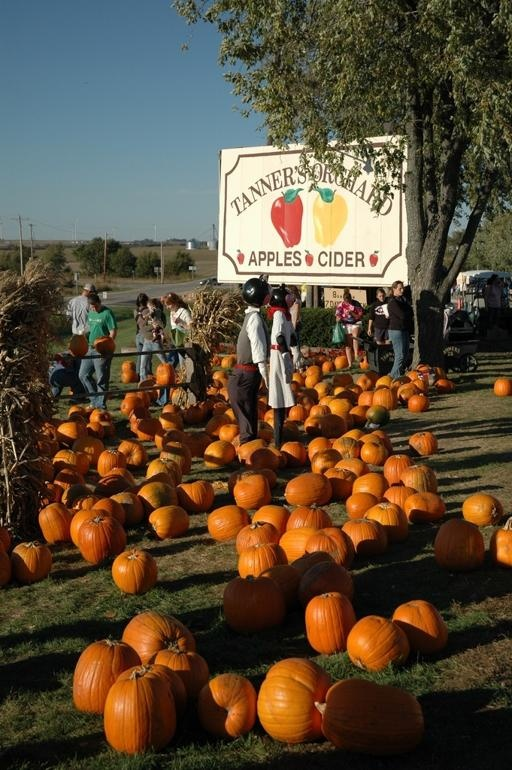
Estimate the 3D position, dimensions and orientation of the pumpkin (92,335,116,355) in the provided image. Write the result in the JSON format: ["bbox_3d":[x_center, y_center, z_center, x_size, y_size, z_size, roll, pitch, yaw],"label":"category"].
[{"bbox_3d":[-2.369,-0.619,9.028,0.285,0.257,0.439,-4,4,-17],"label":"pumpkin"}]

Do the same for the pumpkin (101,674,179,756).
[{"bbox_3d":[-0.435,1.206,2.158,0.257,0.261,0.260,-14,-17,27],"label":"pumpkin"}]

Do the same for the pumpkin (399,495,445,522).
[{"bbox_3d":[1.417,1.021,4.963,0.272,0.207,0.262,1,-7,-3],"label":"pumpkin"}]

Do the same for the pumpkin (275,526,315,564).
[{"bbox_3d":[0.283,1.069,4.073,0.220,0.256,0.214,-7,10,-38],"label":"pumpkin"}]

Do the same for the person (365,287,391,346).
[{"bbox_3d":[2.939,-1.362,13.586,0.595,1.801,0.498,5,28,29],"label":"person"}]

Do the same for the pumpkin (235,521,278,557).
[{"bbox_3d":[-0.013,1.059,4.110,0.232,0.229,0.240,-8,0,25],"label":"pumpkin"}]

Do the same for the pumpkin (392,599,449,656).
[{"bbox_3d":[0.794,1.135,2.789,0.188,0.185,0.187,-24,-1,36],"label":"pumpkin"}]

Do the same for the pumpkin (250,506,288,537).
[{"bbox_3d":[0.127,1.042,4.557,0.204,0.195,0.208,3,9,-11],"label":"pumpkin"}]

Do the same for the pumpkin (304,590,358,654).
[{"bbox_3d":[0.370,1.187,2.923,0.240,0.298,0.250,-6,-6,-15],"label":"pumpkin"}]

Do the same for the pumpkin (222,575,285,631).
[{"bbox_3d":[-0.019,1.176,3.109,0.263,0.245,0.269,0,5,0],"label":"pumpkin"}]

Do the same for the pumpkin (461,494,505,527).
[{"bbox_3d":[1.857,1.008,4.718,0.340,0.215,0.226,-3,4,-1],"label":"pumpkin"}]

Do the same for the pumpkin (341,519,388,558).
[{"bbox_3d":[0.801,1.080,4.147,0.258,0.247,0.265,2,6,8],"label":"pumpkin"}]

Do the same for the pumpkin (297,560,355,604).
[{"bbox_3d":[0.402,1.072,3.217,0.235,0.247,0.238,3,-4,-1],"label":"pumpkin"}]

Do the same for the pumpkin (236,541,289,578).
[{"bbox_3d":[0.029,1.110,3.728,0.227,0.221,0.235,-5,2,28],"label":"pumpkin"}]

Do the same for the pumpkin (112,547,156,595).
[{"bbox_3d":[-0.789,1.169,3.811,0.264,0.274,0.268,1,7,9],"label":"pumpkin"}]

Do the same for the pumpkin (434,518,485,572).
[{"bbox_3d":[1.379,1.083,3.922,0.333,0.356,0.352,6,-7,-28],"label":"pumpkin"}]

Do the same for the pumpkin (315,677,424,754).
[{"bbox_3d":[0.402,1.146,2.000,0.296,0.216,0.172,6,43,5],"label":"pumpkin"}]

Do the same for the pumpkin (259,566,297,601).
[{"bbox_3d":[0.160,1.124,3.380,0.173,0.210,0.168,18,0,-32],"label":"pumpkin"}]

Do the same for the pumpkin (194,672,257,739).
[{"bbox_3d":[-0.119,1.223,2.260,0.186,0.197,0.200,-15,-14,26],"label":"pumpkin"}]

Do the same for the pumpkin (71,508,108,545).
[{"bbox_3d":[-1.360,1.071,4.614,0.321,0.317,0.324,-5,-10,-8],"label":"pumpkin"}]

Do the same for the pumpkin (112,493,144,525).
[{"bbox_3d":[-1.105,1.081,5.159,0.267,0.255,0.270,14,-16,-28],"label":"pumpkin"}]

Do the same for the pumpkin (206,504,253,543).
[{"bbox_3d":[-0.228,1.123,4.752,0.338,0.290,0.286,-19,8,-8],"label":"pumpkin"}]

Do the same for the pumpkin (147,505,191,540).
[{"bbox_3d":[-0.700,1.135,4.881,0.334,0.269,0.263,-12,-17,-49],"label":"pumpkin"}]

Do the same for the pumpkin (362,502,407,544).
[{"bbox_3d":[1.018,1.053,4.468,0.268,0.272,0.277,1,-10,11],"label":"pumpkin"}]

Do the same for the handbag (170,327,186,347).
[{"bbox_3d":[-1.391,-0.857,10.500,0.200,0.331,0.646,-5,4,-23],"label":"handbag"}]

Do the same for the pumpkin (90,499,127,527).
[{"bbox_3d":[-1.231,1.042,4.870,0.216,0.218,0.224,5,2,24],"label":"pumpkin"}]

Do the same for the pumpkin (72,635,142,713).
[{"bbox_3d":[-0.621,1.204,2.518,0.245,0.311,0.258,0,-5,18],"label":"pumpkin"}]

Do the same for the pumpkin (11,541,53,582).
[{"bbox_3d":[-1.611,1.222,4.125,0.239,0.249,0.245,2,2,-3],"label":"pumpkin"}]

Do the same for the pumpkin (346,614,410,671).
[{"bbox_3d":[0.567,1.158,2.667,0.226,0.230,0.223,16,-4,-33],"label":"pumpkin"}]

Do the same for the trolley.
[{"bbox_3d":[3.848,-0.658,13.766,2.285,1.070,1.258,-6,9,-8],"label":"trolley"}]

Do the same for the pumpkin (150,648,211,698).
[{"bbox_3d":[-0.330,1.157,2.457,0.198,0.191,0.202,11,6,43],"label":"pumpkin"}]

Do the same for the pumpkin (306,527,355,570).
[{"bbox_3d":[0.480,1.036,3.823,0.246,0.240,0.246,1,11,21],"label":"pumpkin"}]

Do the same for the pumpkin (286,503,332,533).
[{"bbox_3d":[0.396,0.997,4.401,0.218,0.225,0.225,3,6,29],"label":"pumpkin"}]

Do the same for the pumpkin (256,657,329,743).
[{"bbox_3d":[0.139,1.204,2.207,0.279,0.238,0.200,-3,4,6],"label":"pumpkin"}]
